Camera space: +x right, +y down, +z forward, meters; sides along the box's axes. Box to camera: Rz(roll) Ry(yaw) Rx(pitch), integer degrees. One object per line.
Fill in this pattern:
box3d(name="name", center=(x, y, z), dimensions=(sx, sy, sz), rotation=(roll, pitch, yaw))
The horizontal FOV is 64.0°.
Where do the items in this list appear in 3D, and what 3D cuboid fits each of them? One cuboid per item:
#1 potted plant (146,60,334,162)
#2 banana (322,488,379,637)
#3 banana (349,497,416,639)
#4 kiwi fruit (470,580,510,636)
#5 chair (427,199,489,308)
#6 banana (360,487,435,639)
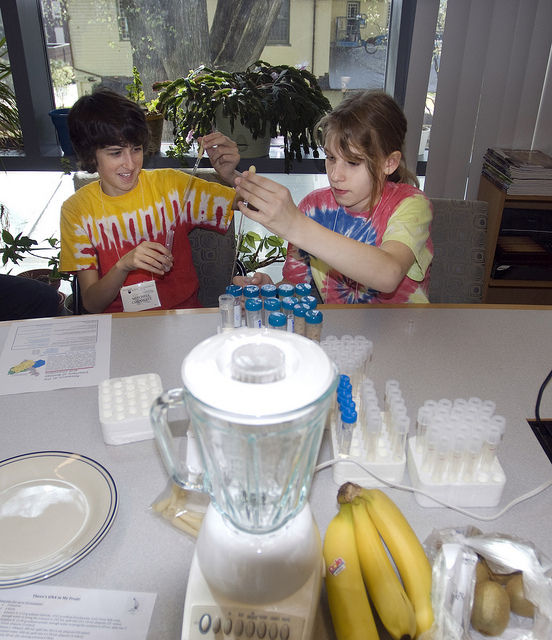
box3d(name="potted plant", center=(-0.186, -1.036, 2.162), dimensions=(0.801, 0.447, 0.708), rotation=(-20, 38, -29))
box3d(name="banana", center=(0.082, 0.264, 0.504), dimensions=(0.046, 0.028, 0.143), rotation=(-37, 28, 22))
box3d(name="banana", center=(0.106, 0.275, 0.515), dimensions=(0.031, 0.057, 0.153), rotation=(-7, 44, -10))
box3d(name="kiwi fruit", center=(0.217, 0.292, 0.457), dimensions=(0.032, 0.053, 0.037), rotation=(5, -14, 2))
box3d(name="chair", center=(0.713, -0.249, 1.745), dimensions=(0.239, 0.391, 0.212), rotation=(8, 29, 12))
box3d(name="banana", center=(0.125, 0.266, 0.547), dimensions=(0.035, 0.065, 0.192), rotation=(-5, 50, -14))
